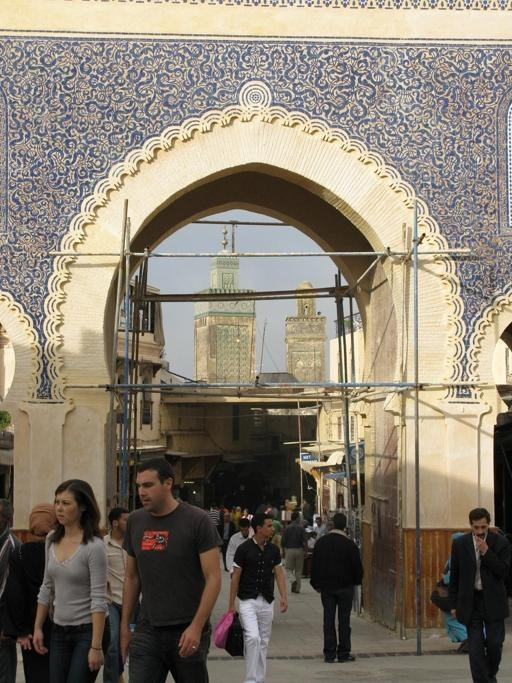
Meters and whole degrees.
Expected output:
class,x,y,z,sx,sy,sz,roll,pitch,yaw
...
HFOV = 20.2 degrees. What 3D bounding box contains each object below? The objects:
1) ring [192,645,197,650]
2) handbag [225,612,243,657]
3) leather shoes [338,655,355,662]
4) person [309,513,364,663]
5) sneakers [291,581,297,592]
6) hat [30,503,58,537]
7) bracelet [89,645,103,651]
class,x,y,z,sx,sy,sz,roll,pitch,yaw
ring,-0.343,1.696,8.029,0.017,0.026,0.007,3,11,-43
handbag,-0.151,1.968,9.738,0.112,0.324,0.322,1,-11,-5
leather shoes,0.722,2.520,11.521,0.144,0.058,0.107,2,-5,-15
person,0.644,1.977,11.677,0.408,1.176,0.362,1,-5,2
sneakers,0.463,3.008,17.745,0.051,0.166,0.110,1,15,-1
hat,-1.319,1.102,8.916,0.151,0.203,0.209,-1,-9,-2
bracelet,-0.935,1.781,8.400,0.069,0.031,0.051,1,-5,0
